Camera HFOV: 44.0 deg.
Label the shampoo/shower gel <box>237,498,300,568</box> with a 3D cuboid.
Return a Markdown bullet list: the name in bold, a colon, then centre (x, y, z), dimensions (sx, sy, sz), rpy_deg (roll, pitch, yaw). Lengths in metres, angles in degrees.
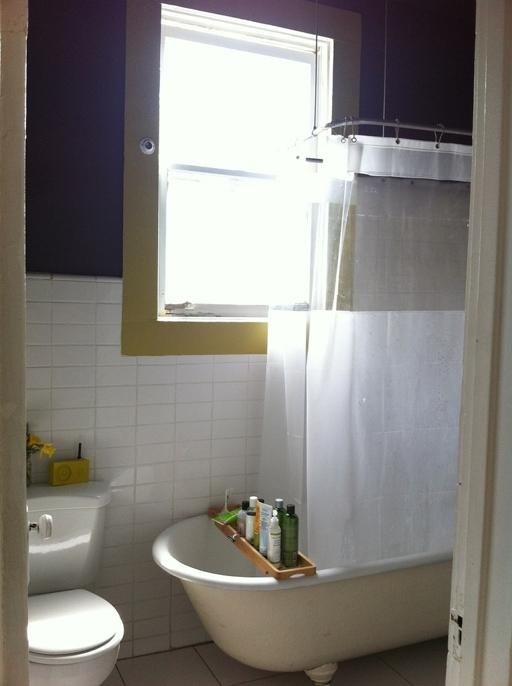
- **shampoo/shower gel**: centre (0.067, 0.665, 2.277), dimensions (0.179, 0.431, 0.115), rpy_deg (2, 0, 22)

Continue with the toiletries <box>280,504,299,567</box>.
- **toiletries**: centre (0.122, 0.653, 2.208), dimensions (0.059, 0.257, 0.078), rpy_deg (-7, 33, -8)

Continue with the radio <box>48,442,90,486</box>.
- **radio**: centre (-0.728, 0.478, 2.474), dimensions (0.162, 0.149, 0.069), rpy_deg (-3, 5, -27)
